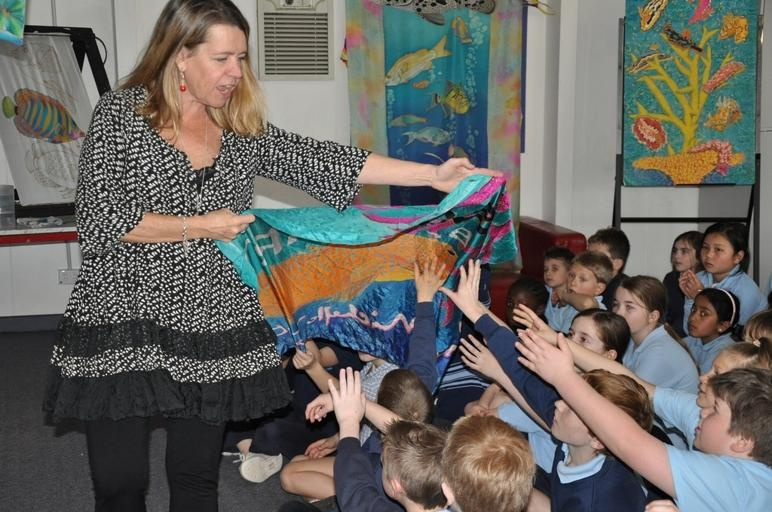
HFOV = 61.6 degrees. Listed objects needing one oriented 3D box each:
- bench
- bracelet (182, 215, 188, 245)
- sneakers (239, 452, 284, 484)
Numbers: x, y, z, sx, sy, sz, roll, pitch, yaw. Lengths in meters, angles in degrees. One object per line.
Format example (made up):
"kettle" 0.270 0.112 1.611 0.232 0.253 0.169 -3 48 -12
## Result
"bench" 1.075 0.028 5.175 0.710 0.962 0.886 -9 12 -8
"bracelet" -0.678 -0.084 2.172 0.023 0.094 0.035 -4 10 -19
"sneakers" -0.645 1.080 3.332 0.196 0.134 0.071 -21 11 -34
